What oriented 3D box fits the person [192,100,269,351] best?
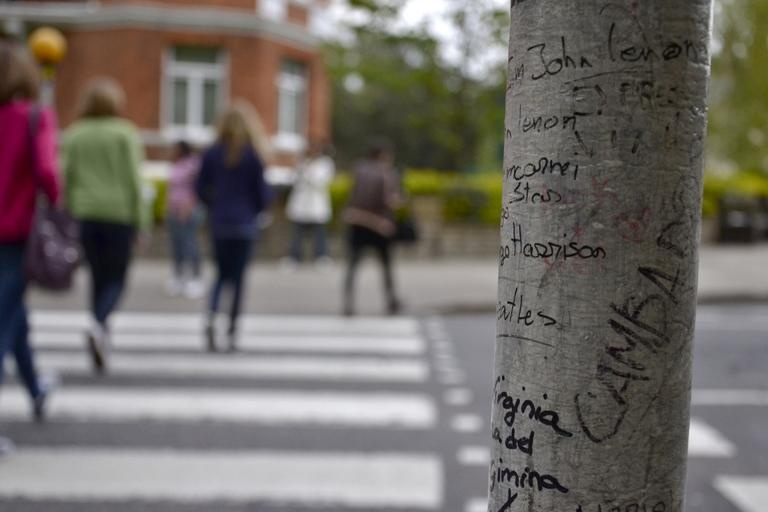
[{"bbox_3d":[-1.685,-0.284,15.790,0.790,2.687,0.489,-1,11,-9],"label":"person"}]

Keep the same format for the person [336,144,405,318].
[{"bbox_3d":[-0.124,-0.388,18.216,0.747,2.575,0.803,9,27,10],"label":"person"}]
